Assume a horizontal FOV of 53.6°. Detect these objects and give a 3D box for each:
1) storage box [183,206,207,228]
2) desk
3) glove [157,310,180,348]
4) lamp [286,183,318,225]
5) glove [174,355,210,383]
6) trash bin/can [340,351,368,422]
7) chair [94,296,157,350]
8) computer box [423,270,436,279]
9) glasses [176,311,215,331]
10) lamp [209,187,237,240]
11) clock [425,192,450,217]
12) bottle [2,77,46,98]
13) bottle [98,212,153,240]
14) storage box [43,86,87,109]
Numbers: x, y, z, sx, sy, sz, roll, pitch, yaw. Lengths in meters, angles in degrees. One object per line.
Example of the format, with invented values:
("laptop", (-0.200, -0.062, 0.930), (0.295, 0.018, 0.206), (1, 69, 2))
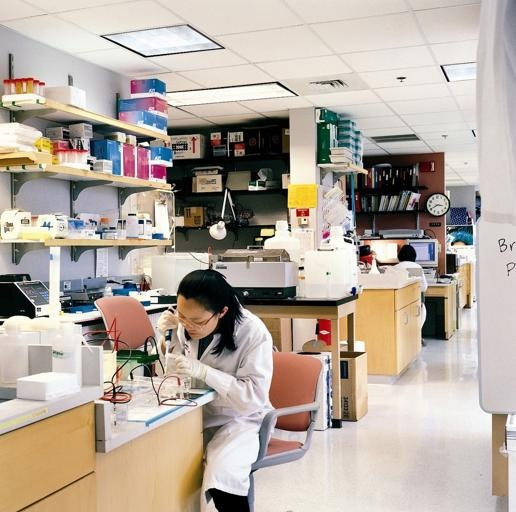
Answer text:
("storage box", (-0.918, -0.555, 7.587), (0.290, 0.317, 0.304), (-1, -1, 8))
("desk", (0.358, 0.706, 4.325), (1.010, 1.030, 0.948), (-1, -1, 20))
("glove", (-0.339, 0.288, 2.031), (0.105, 0.160, 0.050), (0, -2, 39))
("lamp", (0.592, -0.592, 6.821), (0.402, 0.604, 0.428), (-2, -17, 6))
("glove", (-0.228, 0.399, 1.812), (0.109, 0.083, 0.046), (21, 31, -2))
("trash bin/can", (0.742, 1.111, 4.348), (0.328, 0.461, 0.338), (-6, -7, 27))
("chair", (-0.959, 0.498, 3.788), (0.172, 0.307, 0.479), (-1, 0, 30))
("computer box", (2.733, 0.291, 8.131), (0.165, 0.113, 0.173), (0, -2, 15))
("glasses", (-0.222, 0.236, 1.874), (0.138, 0.048, 0.057), (-1, 0, -8))
("lamp", (-0.327, -0.414, 4.827), (0.217, 0.546, 0.145), (-13, 44, -14))
("clock", (3.360, -0.965, 9.665), (0.388, 0.434, 0.412), (1, 1, 6))
("bottle", (-1.700, -1.227, 3.748), (0.185, 0.103, 0.192), (0, 4, 0))
("bottle", (-1.195, -0.261, 4.625), (0.207, 0.164, 0.385), (0, 1, 27))
("storage box", (-1.535, -1.249, 4.057), (0.223, 0.153, 0.232), (2, 2, 30))
